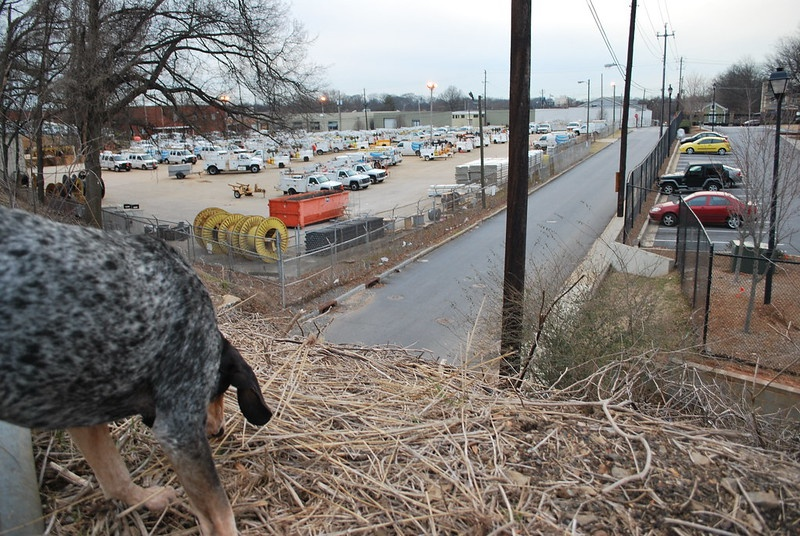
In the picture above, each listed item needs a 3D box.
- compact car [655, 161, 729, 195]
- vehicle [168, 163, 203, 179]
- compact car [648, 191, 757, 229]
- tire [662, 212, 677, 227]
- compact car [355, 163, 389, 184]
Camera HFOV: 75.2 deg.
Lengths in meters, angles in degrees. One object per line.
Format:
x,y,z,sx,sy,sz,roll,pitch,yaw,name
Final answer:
17.786,-5.486,31.537,3.235,1.557,2.198,12,22,40,compact car
-24.690,-10.544,58.027,2.805,1.484,2.129,-2,10,-1,vehicle
13.013,-2.447,22.358,3.969,1.585,2.009,8,13,18,compact car
12.993,-2.400,25.053,0.563,0.619,0.239,6,18,29,tire
-2.686,-8.828,49.317,2.788,1.351,1.919,7,29,23,compact car
